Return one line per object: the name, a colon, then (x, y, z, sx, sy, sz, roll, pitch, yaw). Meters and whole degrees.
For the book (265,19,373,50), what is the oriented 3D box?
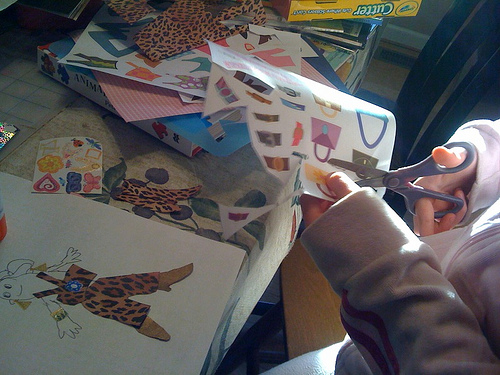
book: (0.162, -0.387, 0.984, 0.226, 0.022, 0.165, 8, 25, 0)

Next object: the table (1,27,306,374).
table: (-0.311, 0.047, 0.885, 0.613, 0.572, 0.446, 24, 68, -6)

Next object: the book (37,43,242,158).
book: (-0.188, -0.234, 0.855, 0.441, 0.060, 0.312, 33, 42, 23)

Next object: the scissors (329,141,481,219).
scissors: (0.225, -0.027, 0.682, 0.147, 0.046, 0.245, -24, 32, -29)
